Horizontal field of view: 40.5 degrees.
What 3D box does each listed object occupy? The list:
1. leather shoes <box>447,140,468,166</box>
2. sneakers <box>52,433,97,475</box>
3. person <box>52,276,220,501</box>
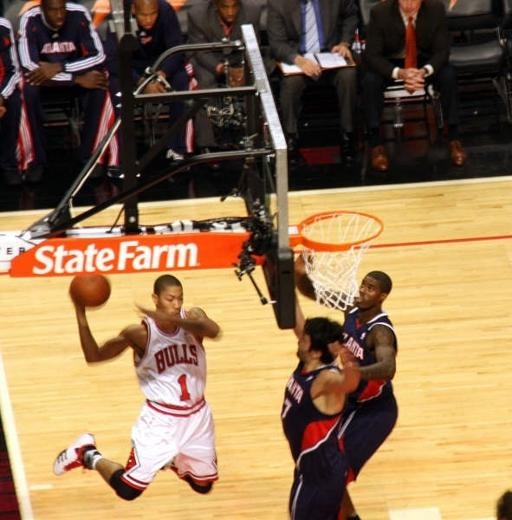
[{"bbox_3d":[1.878,-1.000,6.489,0.095,0.128,0.300,-7,34,9],"label":"leather shoes"},{"bbox_3d":[-0.871,0.935,3.319,0.137,0.198,0.067,42,-5,33],"label":"sneakers"},{"bbox_3d":[-0.488,0.618,3.059,0.695,1.075,0.477,-5,11,-8],"label":"person"}]
